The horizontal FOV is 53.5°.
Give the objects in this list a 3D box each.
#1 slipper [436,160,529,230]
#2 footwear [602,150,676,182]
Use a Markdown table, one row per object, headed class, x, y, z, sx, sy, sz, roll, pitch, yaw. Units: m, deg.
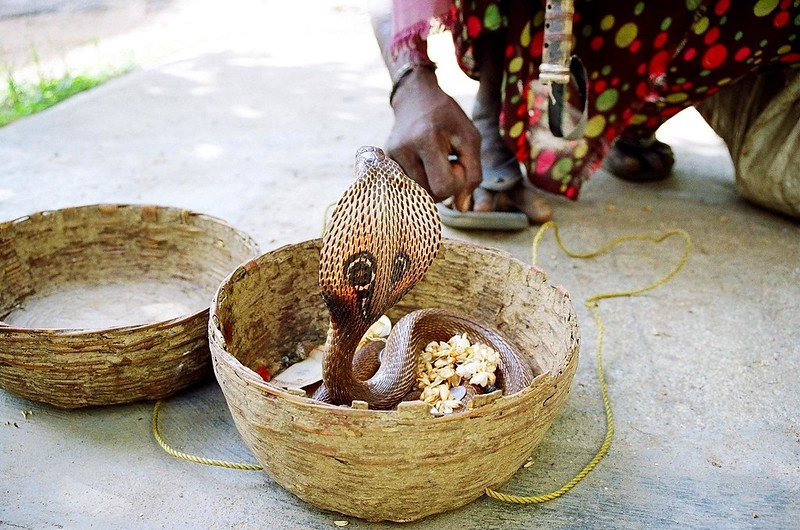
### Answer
| class | x | y | z | sx | sy | sz | roll | pitch | yaw |
| --- | --- | --- | --- | --- | --- | --- | --- | --- | --- |
| slipper | 0.351 | -0.341 | 3.857 | 0.521 | 0.333 | 0.152 | -4 | 8 | -32 |
| footwear | 1.280 | -0.512 | 4.234 | 0.218 | 0.102 | 0.274 | -11 | 18 | -29 |
